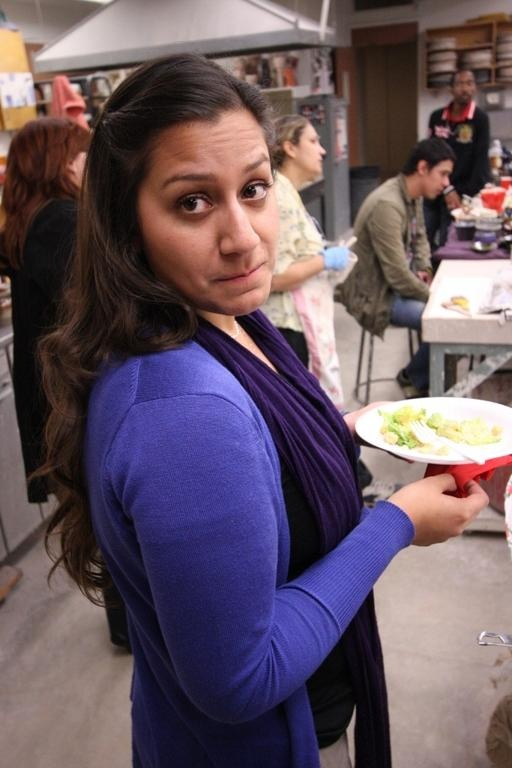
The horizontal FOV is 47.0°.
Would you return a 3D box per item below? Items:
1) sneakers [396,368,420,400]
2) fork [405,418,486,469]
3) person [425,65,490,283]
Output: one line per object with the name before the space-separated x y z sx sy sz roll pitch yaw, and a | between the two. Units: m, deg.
sneakers | 1.001 0.013 3.936 0.102 0.159 0.170 -12 15 13
fork | 0.330 0.102 1.015 0.025 0.018 0.151 -26 21 -10
person | 1.664 -1.826 5.154 0.538 1.657 0.544 -28 46 -23
